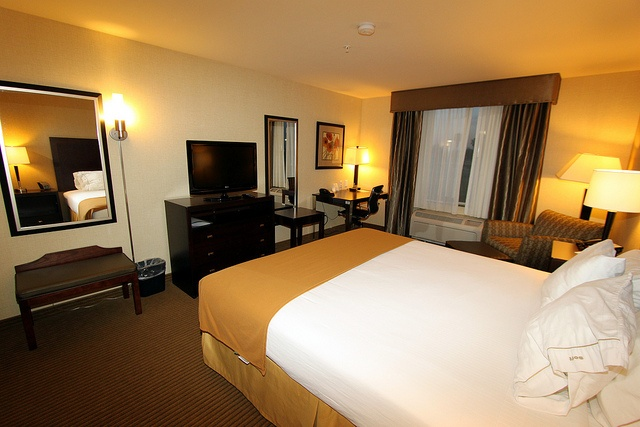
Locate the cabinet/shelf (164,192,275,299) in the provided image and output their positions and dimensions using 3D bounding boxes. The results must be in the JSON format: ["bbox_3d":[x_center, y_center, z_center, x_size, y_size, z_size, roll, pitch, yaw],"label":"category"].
[{"bbox_3d":[-1.304,0.282,5.956,1.270,1.200,0.679,-14,28,-29],"label":"cabinet/shelf"}]

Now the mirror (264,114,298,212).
[{"bbox_3d":[-0.628,-0.928,6.766,0.545,1.264,0.042,-9,24,-33],"label":"mirror"}]

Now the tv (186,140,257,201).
[{"bbox_3d":[-1.399,-0.647,6.042,1.162,0.825,0.254,-10,15,-44],"label":"tv"}]

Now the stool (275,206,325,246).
[{"bbox_3d":[-0.204,0.288,6.880,0.666,0.492,0.673,-4,3,35],"label":"stool"}]

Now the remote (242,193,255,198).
[{"bbox_3d":[-1.056,-0.261,6.032,0.093,0.045,0.145,-8,12,-40],"label":"remote"}]

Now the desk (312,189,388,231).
[{"bbox_3d":[0.523,-0.384,7.482,0.744,0.880,1.200,19,29,41],"label":"desk"}]

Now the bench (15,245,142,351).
[{"bbox_3d":[-2.876,0.915,4.979,1.208,0.877,0.750,-12,20,-33],"label":"bench"}]

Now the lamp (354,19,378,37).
[{"bbox_3d":[0.543,-2.103,4.766,0.210,0.095,0.303,2,12,6],"label":"lamp"}]

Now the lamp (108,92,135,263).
[{"bbox_3d":[-2.507,-0.584,5.224,0.239,1.464,0.209,4,9,-16],"label":"lamp"}]

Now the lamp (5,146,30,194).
[{"bbox_3d":[-3.428,-0.502,4.720,0.206,0.520,0.068,-9,16,-35],"label":"lamp"}]

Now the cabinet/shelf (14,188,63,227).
[{"bbox_3d":[-3.341,0.017,4.952,0.466,0.439,0.325,-10,-14,-29],"label":"cabinet/shelf"}]

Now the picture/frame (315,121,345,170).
[{"bbox_3d":[0.162,-1.267,7.556,0.059,0.841,0.839,16,20,39],"label":"picture/frame"}]
